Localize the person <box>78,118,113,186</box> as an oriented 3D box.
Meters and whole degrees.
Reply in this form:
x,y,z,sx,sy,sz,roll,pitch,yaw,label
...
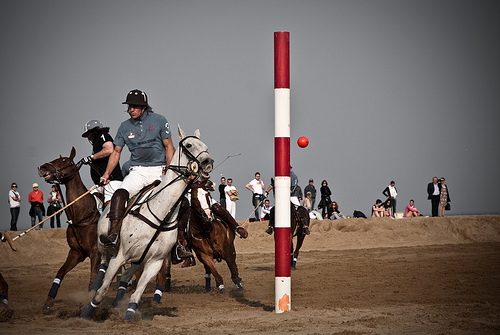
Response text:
x,y,z,sx,sy,sz,roll,pitch,yaw,label
-3.487,-0.295,12.463,0.725,2.269,1.027,4,-13,-16,person

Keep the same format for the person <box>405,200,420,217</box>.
x,y,z,sx,sy,sz,roll,pitch,yaw,label
9.209,2.312,30.866,0.791,0.946,1.625,-1,-1,27,person

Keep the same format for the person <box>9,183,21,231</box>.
x,y,z,sx,sy,sz,roll,pitch,yaw,label
-10.097,1.704,23.126,0.368,2.118,1.503,0,-1,-23,person

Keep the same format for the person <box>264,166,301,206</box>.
x,y,z,sx,sy,sz,roll,pitch,yaw,label
0.904,0.484,13.560,0.746,0.410,1.158,5,-37,-3,person

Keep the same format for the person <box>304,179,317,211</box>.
x,y,z,sx,sy,sz,roll,pitch,yaw,label
3.121,1.445,28.003,0.533,1.621,1.813,0,-1,6,person
